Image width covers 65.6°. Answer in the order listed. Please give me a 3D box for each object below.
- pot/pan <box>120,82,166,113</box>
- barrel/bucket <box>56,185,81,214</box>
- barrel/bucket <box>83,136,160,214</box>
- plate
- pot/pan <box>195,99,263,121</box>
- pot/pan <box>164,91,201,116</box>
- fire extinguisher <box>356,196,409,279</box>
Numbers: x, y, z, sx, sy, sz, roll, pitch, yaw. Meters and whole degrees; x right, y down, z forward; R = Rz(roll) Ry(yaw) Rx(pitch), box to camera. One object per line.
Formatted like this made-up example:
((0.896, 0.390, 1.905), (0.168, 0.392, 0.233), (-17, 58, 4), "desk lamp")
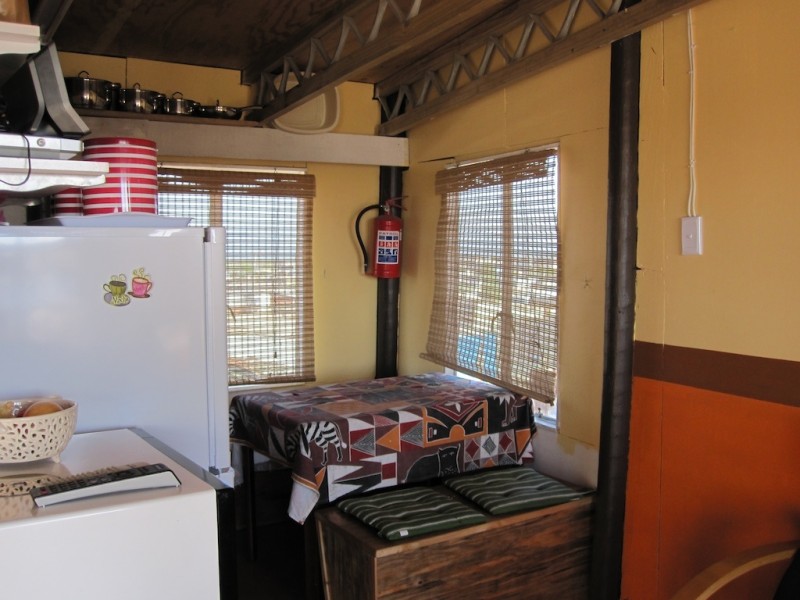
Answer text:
((-1.696, -1.285, 4.076), (0.223, 0.170, 0.233), (7, 10, 26), "pot/pan")
((-1.355, -0.402, 2.535), (0.104, 0.112, 0.108), (2, 3, 0), "barrel/bucket")
((-1.089, -0.480, 2.408), (0.283, 0.296, 0.206), (-7, 11, -28), "barrel/bucket")
((-1.158, -0.478, 2.521), (0.303, 0.356, 0.368), (-5, 12, -45), "plate")
((-1.178, -1.315, 4.332), (0.274, 0.125, 0.444), (6, 13, 37), "pot/pan")
((-1.482, -1.324, 4.208), (0.201, 0.134, 0.155), (8, 5, 27), "pot/pan")
((-0.149, -0.438, 4.865), (0.322, 0.731, 0.305), (0, 1, -28), "fire extinguisher")
